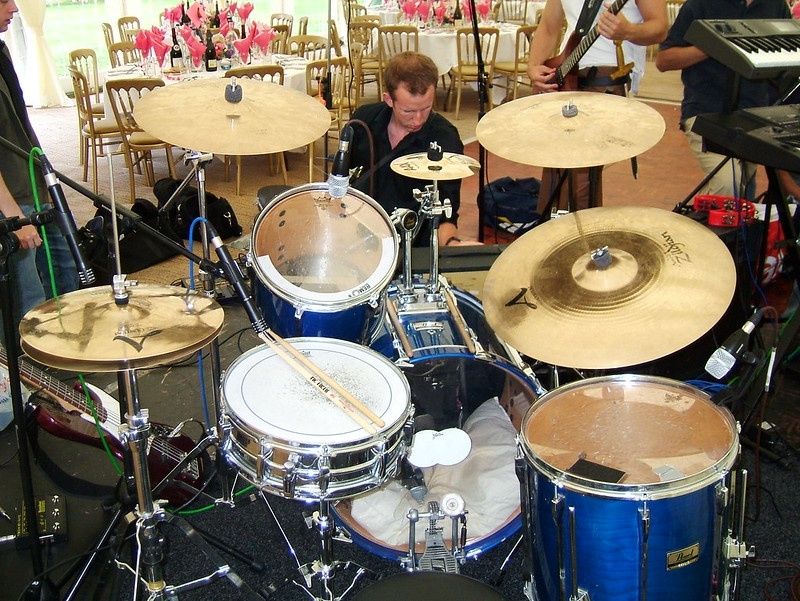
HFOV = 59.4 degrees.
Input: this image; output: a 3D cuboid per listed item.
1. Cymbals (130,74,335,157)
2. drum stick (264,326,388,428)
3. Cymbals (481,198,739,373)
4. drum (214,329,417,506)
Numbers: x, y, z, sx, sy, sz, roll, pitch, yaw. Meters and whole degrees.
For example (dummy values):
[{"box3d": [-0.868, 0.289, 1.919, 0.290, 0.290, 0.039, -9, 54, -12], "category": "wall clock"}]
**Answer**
[{"box3d": [-0.559, -0.617, 2.376, 0.414, 0.087, 0.422, -5, 46, -14], "category": "Cymbals"}, {"box3d": [-0.215, 0.223, 1.968, 0.064, 0.042, 0.366, -33, 51, -22], "category": "drum stick"}, {"box3d": [0.573, -0.051, 1.990, 0.671, 0.308, 0.473, 13, 31, 23], "category": "Cymbals"}, {"box3d": [-0.233, 0.314, 1.958, 0.521, 0.228, 0.463, -5, 29, -8], "category": "drum"}]
